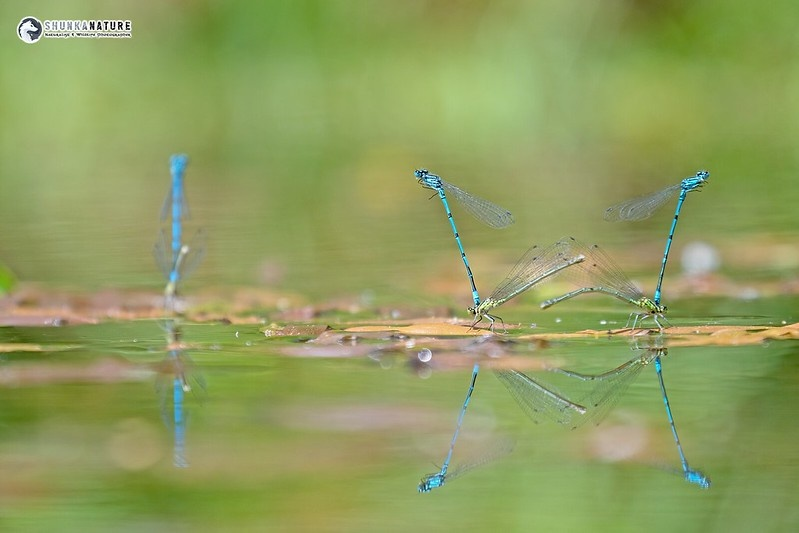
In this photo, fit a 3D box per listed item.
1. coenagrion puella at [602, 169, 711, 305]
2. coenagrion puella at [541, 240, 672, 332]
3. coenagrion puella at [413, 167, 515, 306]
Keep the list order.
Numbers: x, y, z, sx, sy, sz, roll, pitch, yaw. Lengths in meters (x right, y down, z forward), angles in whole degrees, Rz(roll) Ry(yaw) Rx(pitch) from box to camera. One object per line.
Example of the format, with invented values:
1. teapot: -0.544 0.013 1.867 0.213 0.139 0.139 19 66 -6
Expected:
1. coenagrion puella: 0.735 -0.098 2.176 0.184 0.394 0.454 17 -15 11
2. coenagrion puella: 0.646 0.094 2.202 0.331 0.167 0.308 -8 13 10
3. coenagrion puella: 0.198 -0.084 2.224 0.346 0.358 0.180 -8 1 22
